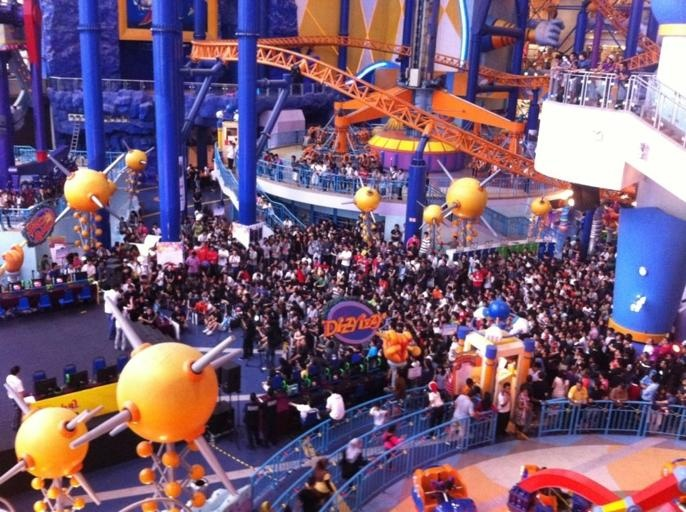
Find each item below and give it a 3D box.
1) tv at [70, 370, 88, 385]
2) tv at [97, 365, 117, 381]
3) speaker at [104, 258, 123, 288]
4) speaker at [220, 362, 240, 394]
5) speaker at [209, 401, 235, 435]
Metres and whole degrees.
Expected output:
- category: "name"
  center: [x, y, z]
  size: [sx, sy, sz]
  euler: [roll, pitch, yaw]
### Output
- category: "tv"
  center: [-5.639, 2.594, 13.765]
  size: [0.248, 0.238, 0.109]
  euler: [2, 16, -22]
- category: "tv"
  center: [-5.111, 2.572, 14.006]
  size: [0.497, 0.369, 0.282]
  euler: [-5, 11, -32]
- category: "speaker"
  center: [-6.910, 0.524, 19.423]
  size: [0.560, 1.135, 0.561]
  euler: [-7, 15, -35]
- category: "speaker"
  center: [-2.639, 2.875, 15.052]
  size: [0.431, 0.768, 0.399]
  euler: [-2, 13, -22]
- category: "speaker"
  center: [-2.757, 3.616, 14.547]
  size: [0.577, 0.620, 0.565]
  euler: [-4, 12, -34]
